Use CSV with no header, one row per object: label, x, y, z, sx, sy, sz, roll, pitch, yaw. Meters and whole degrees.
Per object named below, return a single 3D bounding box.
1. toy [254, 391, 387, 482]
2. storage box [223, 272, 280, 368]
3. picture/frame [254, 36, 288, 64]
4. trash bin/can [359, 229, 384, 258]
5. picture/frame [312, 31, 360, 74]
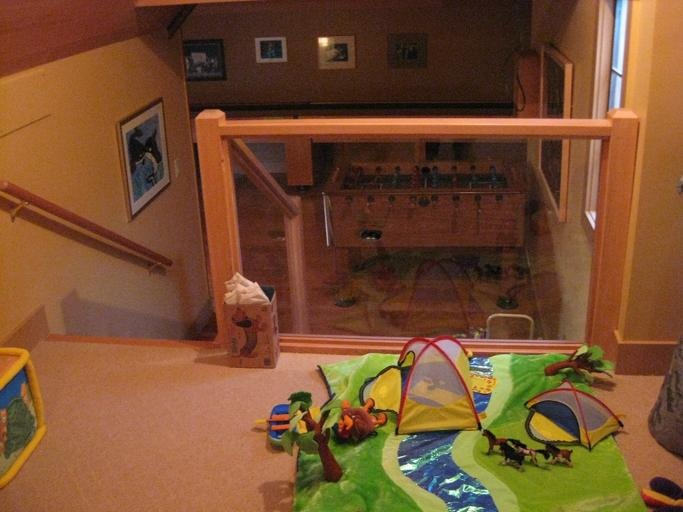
toy,-0.091,0.613,1.985,0.486,0.233,0.388,-3,-2,-40
storage box,-0.402,0.283,2.394,0.229,0.389,0.237,3,18,12
picture/frame,-0.916,-2.677,6.934,0.321,0.249,0.013,0,13,4
trash bin/can,0.171,-0.073,3.002,0.129,0.120,0.141,-5,-2,2
picture/frame,-0.059,-2.613,6.830,0.506,0.447,0.052,0,23,2
